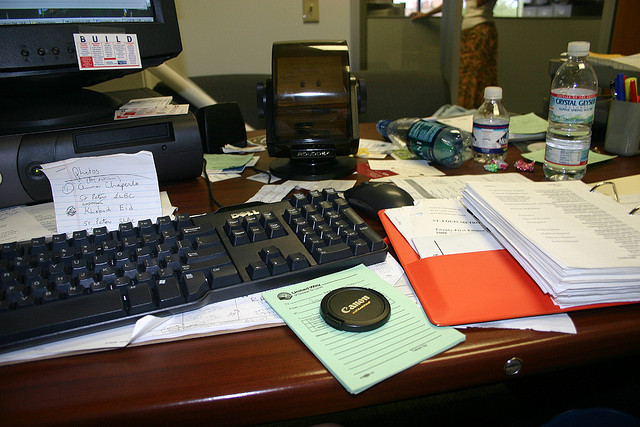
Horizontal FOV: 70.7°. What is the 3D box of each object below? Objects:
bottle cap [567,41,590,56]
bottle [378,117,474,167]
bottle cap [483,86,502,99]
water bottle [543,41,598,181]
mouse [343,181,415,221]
[{"bbox_3d":[0.537,-0.346,0.944,0.044,0.022,0.039,1,24,7],"label":"bottle cap"},{"bbox_3d":[0.260,-0.208,1.199,0.141,0.096,0.305,-20,29,-32],"label":"bottle"},{"bbox_3d":[0.420,-0.295,1.091,0.043,0.018,0.037,2,23,4],"label":"bottle cap"},{"bbox_3d":[0.569,-0.216,1.007,0.114,0.308,0.100,-10,28,0],"label":"water bottle"},{"bbox_3d":[0.114,-0.033,0.860,0.072,0.034,0.115,-13,32,-32],"label":"mouse"}]
